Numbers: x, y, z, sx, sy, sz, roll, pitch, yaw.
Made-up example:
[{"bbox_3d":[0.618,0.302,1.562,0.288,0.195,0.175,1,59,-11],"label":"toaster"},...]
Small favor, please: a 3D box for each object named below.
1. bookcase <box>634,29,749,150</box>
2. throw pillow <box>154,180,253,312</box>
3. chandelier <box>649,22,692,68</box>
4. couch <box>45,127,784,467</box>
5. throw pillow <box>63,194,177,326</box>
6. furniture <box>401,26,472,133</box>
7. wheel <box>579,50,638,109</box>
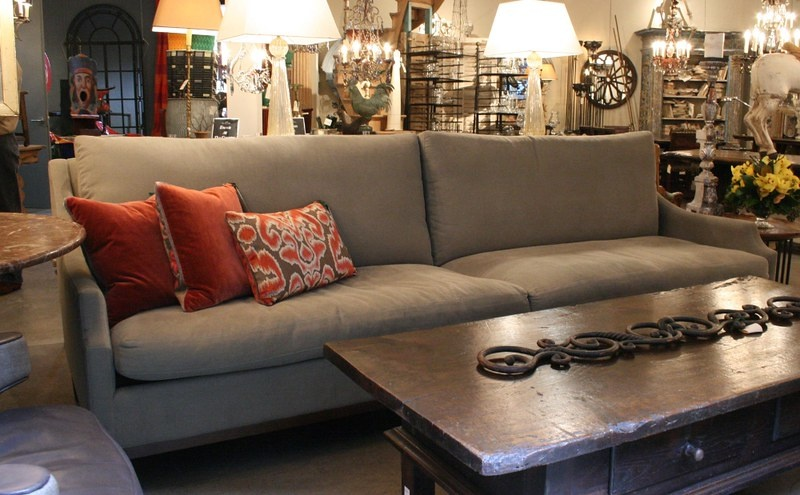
[{"bbox_3d":[5.392,-2.753,10.567,1.801,2.213,0.661,6,24,26],"label":"bookcase"},{"bbox_3d":[-0.865,0.019,2.509,0.270,0.435,0.522,10,12,30],"label":"throw pillow"},{"bbox_3d":[3.967,-2.892,8.414,0.429,0.630,0.700,2,11,28],"label":"chandelier"},{"bbox_3d":[0.328,0.071,3.336,4.044,1.388,1.320,-5,11,-27],"label":"couch"},{"bbox_3d":[-1.226,0.032,2.614,0.315,0.496,0.564,12,6,2],"label":"throw pillow"},{"bbox_3d":[0.591,-2.524,9.158,0.828,1.339,0.419,-3,9,-17],"label":"furniture"},{"bbox_3d":[4.036,-3.263,11.167,0.962,1.122,0.537,-4,10,-3],"label":"wheel"}]
